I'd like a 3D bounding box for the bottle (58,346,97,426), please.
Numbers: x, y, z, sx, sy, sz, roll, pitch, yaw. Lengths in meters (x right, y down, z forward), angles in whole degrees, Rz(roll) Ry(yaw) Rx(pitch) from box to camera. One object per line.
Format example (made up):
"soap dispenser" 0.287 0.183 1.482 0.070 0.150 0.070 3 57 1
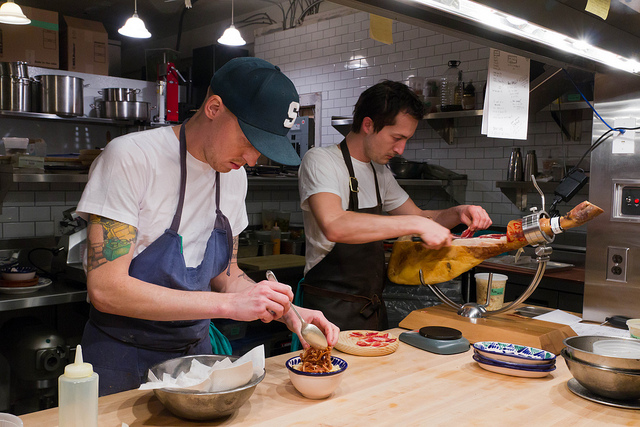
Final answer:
"bottle" -0.772 0.559 1.428 0.120 0.238 0.095 -7 17 -29

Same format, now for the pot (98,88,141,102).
"pot" -2.282 -1.348 5.065 0.352 0.100 0.200 0 4 1

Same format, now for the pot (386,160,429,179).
"pot" 1.032 -0.521 5.283 0.452 0.224 0.177 3 14 7

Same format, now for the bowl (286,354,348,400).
"bowl" -0.020 0.668 1.853 0.255 0.122 0.265 -1 -2 0

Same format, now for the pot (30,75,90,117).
"pot" -2.813 -1.242 4.889 0.762 0.419 0.434 0 -1 -16

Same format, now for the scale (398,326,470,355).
"scale" 0.576 0.638 2.303 0.339 0.090 0.183 10 16 35

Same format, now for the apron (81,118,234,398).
"apron" -0.711 0.209 2.033 0.728 1.240 0.365 -7 16 -27

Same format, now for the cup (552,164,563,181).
"cup" 2.463 -0.429 4.657 0.097 0.155 0.192 7 14 22
